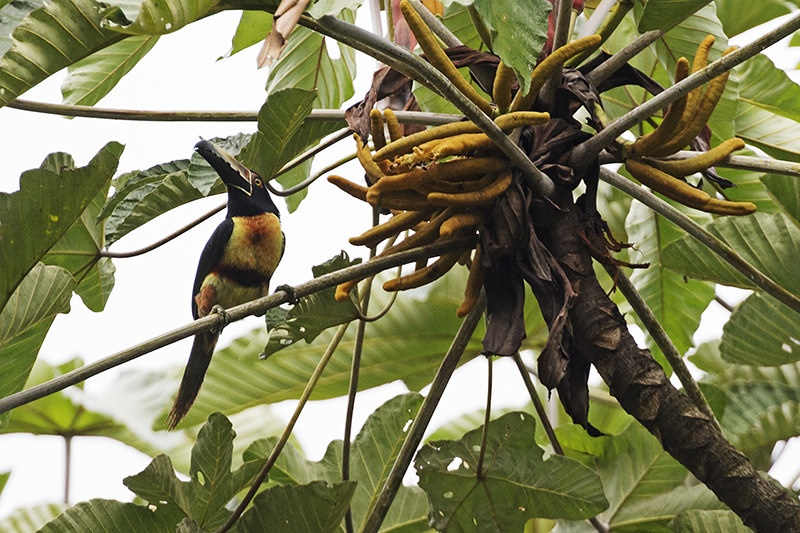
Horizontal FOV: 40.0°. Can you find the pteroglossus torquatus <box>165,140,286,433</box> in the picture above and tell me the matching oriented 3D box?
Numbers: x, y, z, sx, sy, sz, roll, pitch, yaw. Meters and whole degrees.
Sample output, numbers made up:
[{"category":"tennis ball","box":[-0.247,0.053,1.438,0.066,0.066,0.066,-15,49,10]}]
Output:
[{"category":"pteroglossus torquatus","box":[-0.476,0.050,3.112,0.251,0.363,0.843,8,-58,-32]}]
